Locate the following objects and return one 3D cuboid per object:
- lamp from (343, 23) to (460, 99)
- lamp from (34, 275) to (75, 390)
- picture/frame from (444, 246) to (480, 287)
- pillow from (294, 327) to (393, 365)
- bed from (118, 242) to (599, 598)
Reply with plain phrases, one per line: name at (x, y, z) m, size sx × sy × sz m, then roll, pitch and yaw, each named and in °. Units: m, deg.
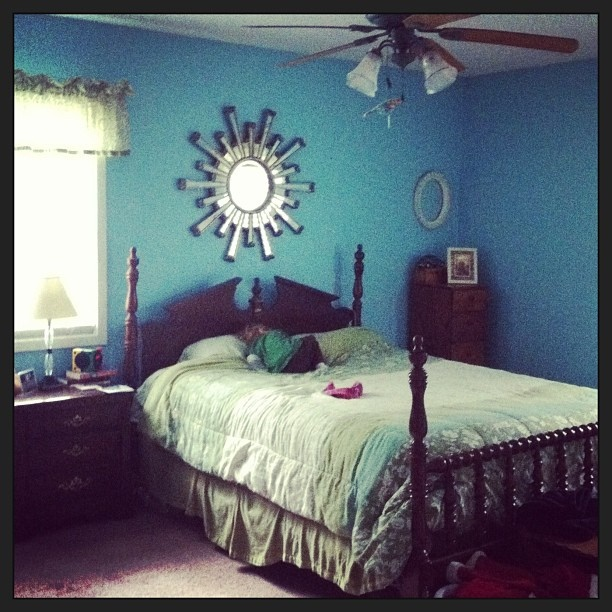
lamp at (0.271, -0.754, 1.860) m, size 0.278 × 0.327 × 0.213 m, roll -1°, pitch -7°, yaw -4°
lamp at (-0.906, 0.096, 2.318) m, size 0.140 × 0.400 × 0.178 m, roll -3°, pitch 5°, yaw -22°
picture/frame at (0.869, -0.210, 3.553) m, size 0.206 × 0.284 × 0.019 m, roll 1°, pitch -4°, yaw -11°
pillow at (0.201, 0.170, 2.796) m, size 0.240 × 0.067 × 0.200 m, roll -7°, pitch 14°, yaw -25°
bed at (0.159, 0.391, 2.141) m, size 1.042 × 0.952 × 1.311 m, roll -6°, pitch 6°, yaw -40°
